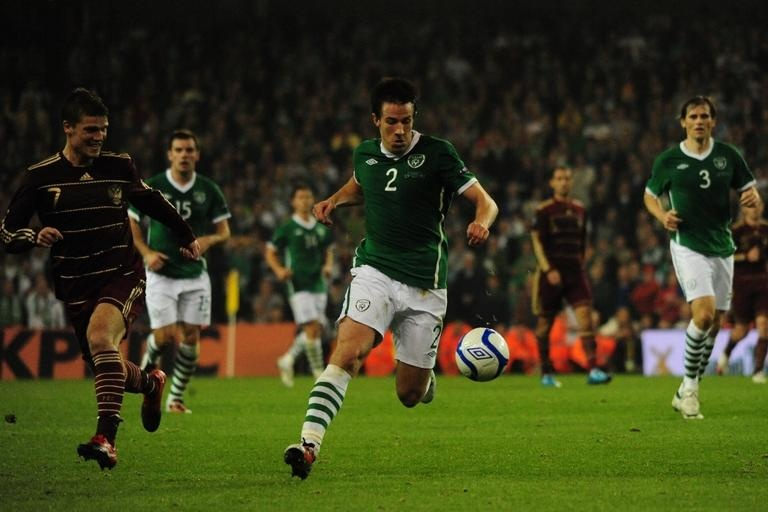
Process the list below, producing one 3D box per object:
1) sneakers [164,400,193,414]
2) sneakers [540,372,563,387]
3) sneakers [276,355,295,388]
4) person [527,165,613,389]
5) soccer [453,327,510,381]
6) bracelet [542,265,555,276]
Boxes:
[{"bbox_3d":[-3.139,2.310,15.915,0.466,0.185,0.162,-4,-4,43],"label":"sneakers"},{"bbox_3d":[2.939,2.198,18.320,0.483,0.206,0.168,0,1,23],"label":"sneakers"},{"bbox_3d":[-1.957,2.303,20.672,0.284,0.675,0.227,1,17,31],"label":"sneakers"},{"bbox_3d":[3.111,0.416,17.875,1.304,3.816,0.798,3,8,29],"label":"person"},{"bbox_3d":[1.282,1.248,13.864,0.666,0.734,0.685,-1,8,3],"label":"soccer"},{"bbox_3d":[2.773,0.256,17.689,0.084,0.125,0.280,-6,9,-37],"label":"bracelet"}]
